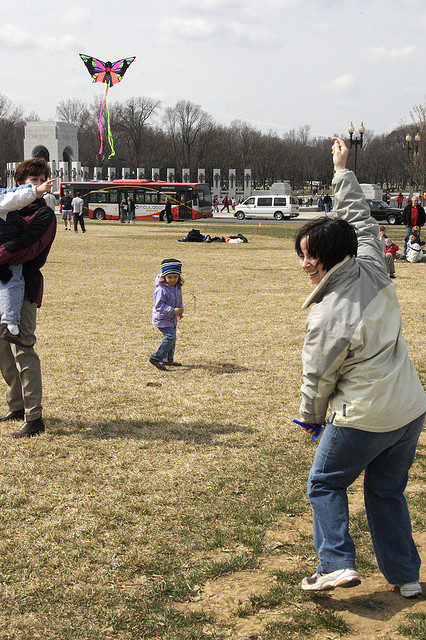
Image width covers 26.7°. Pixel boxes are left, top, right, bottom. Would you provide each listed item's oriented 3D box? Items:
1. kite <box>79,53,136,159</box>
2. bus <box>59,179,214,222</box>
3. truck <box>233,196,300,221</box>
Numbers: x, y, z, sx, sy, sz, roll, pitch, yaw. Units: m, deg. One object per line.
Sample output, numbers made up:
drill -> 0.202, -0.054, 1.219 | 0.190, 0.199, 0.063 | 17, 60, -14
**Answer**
kite -> -6.724, -13.057, 55.560 | 3.687, 6.220, 0.621 | -5, 22, -25
bus -> -3.671, -6.126, 46.571 | 6.758, 2.082, 2.311 | 3, 9, 11
truck -> 2.714, -5.811, 46.917 | 3.082, 1.312, 1.530 | 4, 10, 14
